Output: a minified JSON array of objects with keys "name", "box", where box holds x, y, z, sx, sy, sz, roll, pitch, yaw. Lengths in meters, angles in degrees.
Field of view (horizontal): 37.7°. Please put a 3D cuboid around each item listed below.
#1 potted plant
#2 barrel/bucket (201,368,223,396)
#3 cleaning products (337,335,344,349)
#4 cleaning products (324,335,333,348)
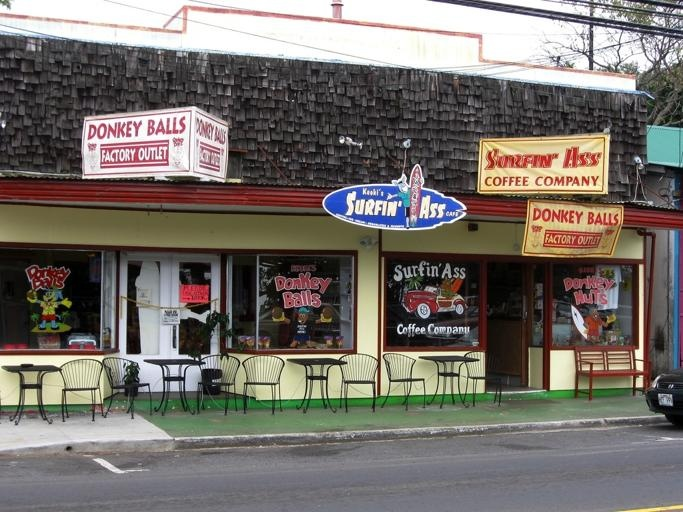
[{"name":"potted plant","box":[-2.623,2.123,22.172,1.567,2.592,1.505,1,-2,-39]},{"name":"barrel/bucket","box":[-2.818,2.769,21.502,0.500,0.636,0.531,0,2,0]},{"name":"cleaning products","box":[-0.015,1.912,22.162,0.199,0.340,0.212,1,-5,8]},{"name":"cleaning products","box":[-0.287,1.904,22.094,0.200,0.241,0.217,0,0,-21]}]
